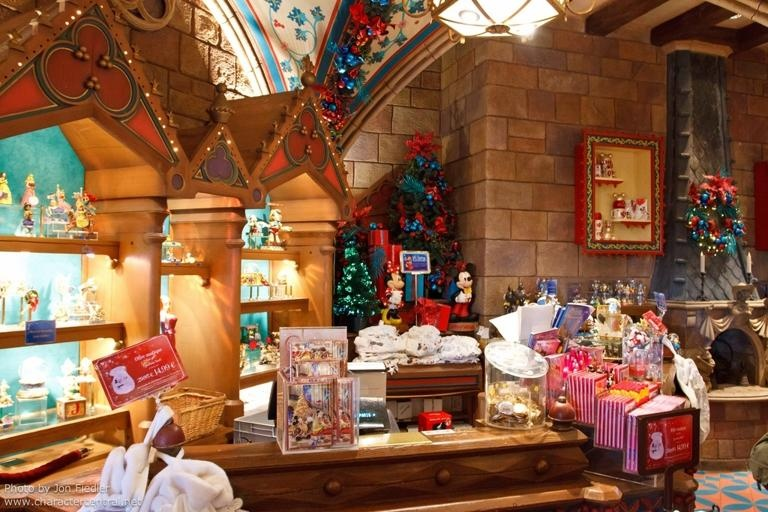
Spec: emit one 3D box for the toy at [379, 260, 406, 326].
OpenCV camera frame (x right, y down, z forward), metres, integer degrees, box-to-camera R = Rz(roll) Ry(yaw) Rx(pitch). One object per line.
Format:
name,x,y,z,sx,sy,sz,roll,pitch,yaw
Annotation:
toy,0.086,0.437,6.634,0.261,0.700,0.347,-1,-6,2

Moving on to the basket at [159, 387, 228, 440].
basket,-1.469,1.167,4.581,0.416,0.242,0.505,0,-1,-38

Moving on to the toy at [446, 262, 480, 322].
toy,0.911,0.424,6.885,0.342,0.679,0.313,0,-6,-7

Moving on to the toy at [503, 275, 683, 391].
toy,2.043,0.668,5.534,1.203,0.714,1.202,-1,-5,16
